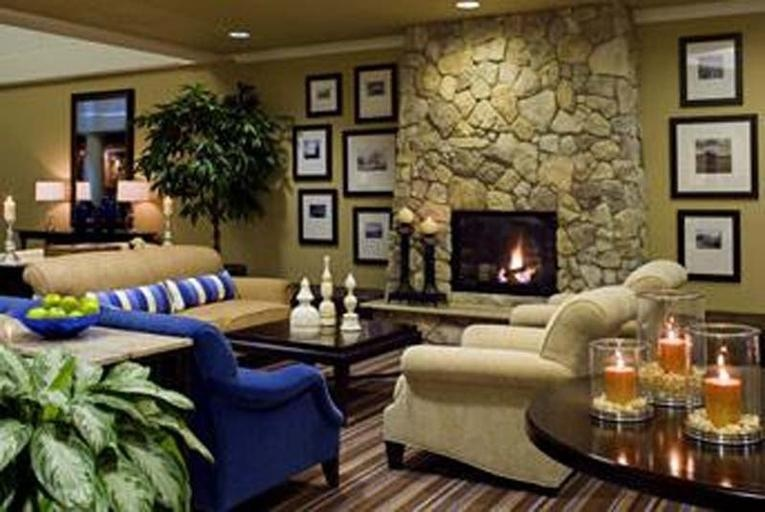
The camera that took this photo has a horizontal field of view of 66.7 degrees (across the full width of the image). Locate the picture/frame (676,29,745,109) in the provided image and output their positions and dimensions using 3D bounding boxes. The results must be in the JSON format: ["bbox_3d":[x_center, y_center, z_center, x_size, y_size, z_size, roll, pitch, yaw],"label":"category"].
[{"bbox_3d":[2.977,-1.708,5.244,0.736,0.900,0.071,0,3,22],"label":"picture/frame"}]

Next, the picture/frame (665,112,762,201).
[{"bbox_3d":[3.038,-0.918,5.283,0.817,0.861,0.060,0,1,22],"label":"picture/frame"}]

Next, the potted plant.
[{"bbox_3d":[-1.885,-0.920,7.471,2.166,2.663,1.978,2,5,13],"label":"potted plant"}]

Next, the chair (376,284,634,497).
[{"bbox_3d":[0.700,0.630,3.382,1.143,0.965,1.029,-1,-2,26],"label":"chair"}]

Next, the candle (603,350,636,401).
[{"bbox_3d":[0.712,0.360,1.753,0.108,0.195,0.111,0,3,21],"label":"candle"}]

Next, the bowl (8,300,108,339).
[{"bbox_3d":[-1.449,0.305,2.553,0.266,0.091,0.222,2,-3,-22],"label":"bowl"}]

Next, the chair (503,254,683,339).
[{"bbox_3d":[1.389,0.249,3.918,0.972,0.363,0.600,-6,-1,38],"label":"chair"}]
